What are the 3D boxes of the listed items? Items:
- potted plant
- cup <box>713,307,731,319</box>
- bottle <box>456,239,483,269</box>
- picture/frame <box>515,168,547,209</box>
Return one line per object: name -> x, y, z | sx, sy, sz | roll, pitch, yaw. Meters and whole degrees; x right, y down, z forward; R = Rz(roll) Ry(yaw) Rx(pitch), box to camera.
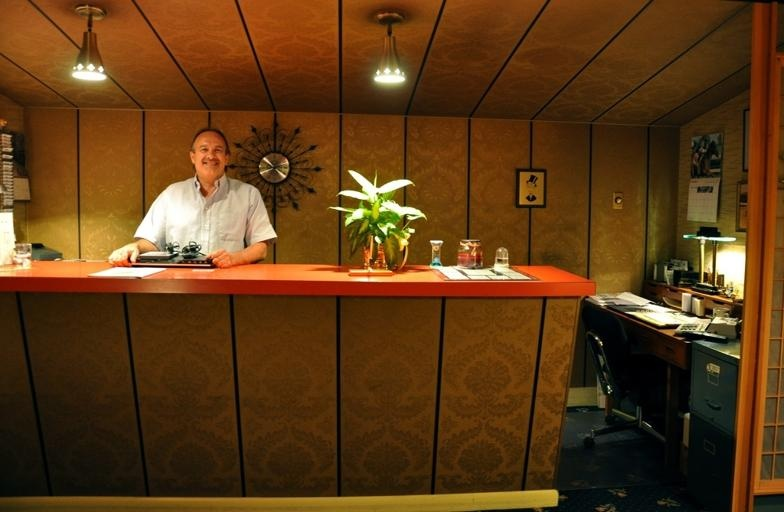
potted plant -> -0.100, -0.256, 4.588 | 0.514, 0.658, 1.061 | -1, 0, -4
cup -> 2.819, 0.480, 4.911 | 0.123, 0.062, 0.117 | -1, 3, 0
bottle -> 0.608, -0.019, 4.479 | 0.169, 0.209, 0.245 | -1, 0, 12
picture/frame -> 1.462, -0.735, 6.086 | 0.530, 0.523, 0.026 | 0, 4, -8
